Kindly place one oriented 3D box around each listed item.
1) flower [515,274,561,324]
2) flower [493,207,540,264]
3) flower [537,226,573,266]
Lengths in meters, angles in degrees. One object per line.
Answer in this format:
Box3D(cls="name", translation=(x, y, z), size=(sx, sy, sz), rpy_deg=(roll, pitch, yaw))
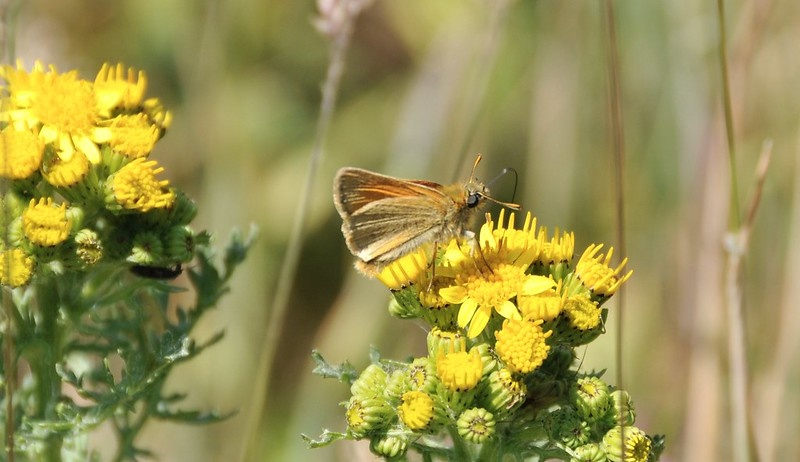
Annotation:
Box3D(cls="flower", translation=(0.301, 0.152, 2.309), size=(0.082, 0.105, 0.053), rpy_deg=(-1, -14, 0))
Box3D(cls="flower", translation=(0.262, 0.026, 2.359), size=(0.095, 0.122, 0.071), rpy_deg=(-4, -44, -5))
Box3D(cls="flower", translation=(0.354, 0.040, 2.419), size=(0.077, 0.085, 0.075), rpy_deg=(0, 3, 6))
